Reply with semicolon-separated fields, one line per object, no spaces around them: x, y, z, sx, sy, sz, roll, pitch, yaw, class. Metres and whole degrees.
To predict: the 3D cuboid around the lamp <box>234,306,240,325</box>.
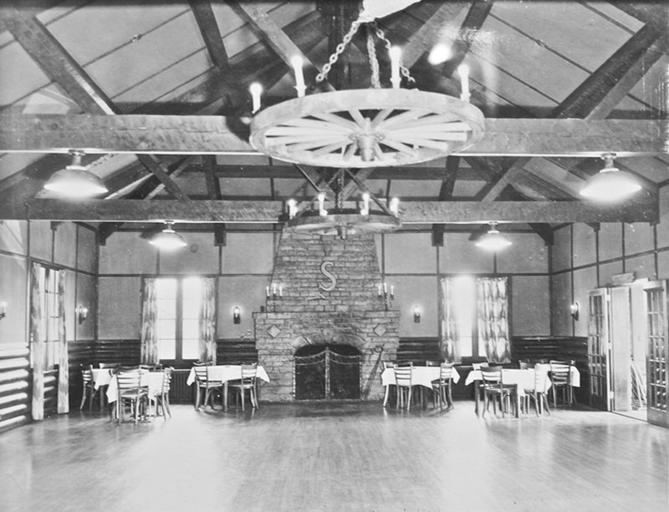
-2.376;1.450;17.960;0.175;0.425;0.079;0;1;-10;lamp

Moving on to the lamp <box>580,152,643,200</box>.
4.181;-1.195;11.050;0.843;0.652;0.953;1;7;10;lamp

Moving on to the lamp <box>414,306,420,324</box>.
2.050;1.463;18.214;0.175;0.384;0.051;0;1;-12;lamp

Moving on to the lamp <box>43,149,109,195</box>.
-3.465;-0.988;9.774;0.766;0.573;0.763;2;1;43;lamp

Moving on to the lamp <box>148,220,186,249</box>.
-3.016;-0.281;13.434;0.827;0.567;0.886;2;-9;-9;lamp

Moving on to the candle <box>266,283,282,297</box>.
-1.373;0.778;17.063;0.349;0.316;0.151;0;0;17;candle

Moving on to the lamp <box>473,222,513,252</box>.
3.031;-0.318;14.215;0.780;0.631;0.837;0;-5;-7;lamp

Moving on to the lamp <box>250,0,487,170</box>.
0.392;-1.287;7.792;1.765;1.950;1.906;-2;-6;15;lamp

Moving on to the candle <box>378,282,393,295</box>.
1.221;0.793;17.456;0.290;0.342;0.312;0;1;14;candle
